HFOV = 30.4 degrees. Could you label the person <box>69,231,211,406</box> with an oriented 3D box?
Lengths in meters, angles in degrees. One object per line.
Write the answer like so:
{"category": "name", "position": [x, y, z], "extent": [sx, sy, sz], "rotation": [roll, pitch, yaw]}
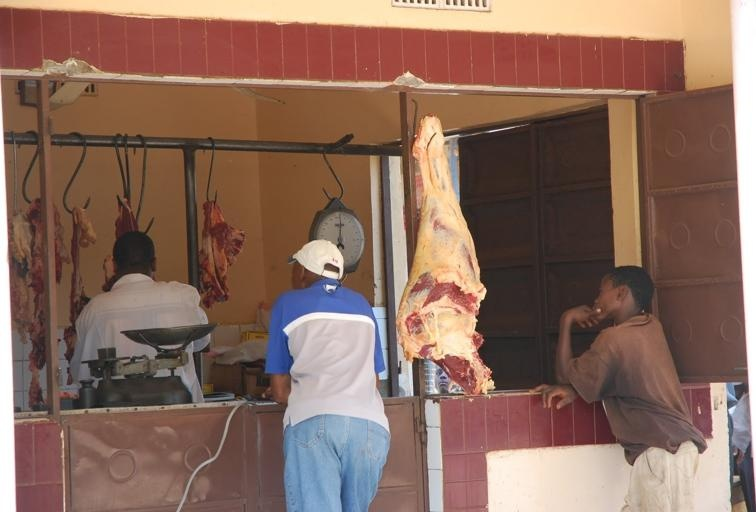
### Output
{"category": "person", "position": [-1.775, 0.424, 11.094], "extent": [0.912, 1.497, 0.815], "rotation": [0, 1, -18]}

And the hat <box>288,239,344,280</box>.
{"category": "hat", "position": [-0.400, 0.006, 9.945], "extent": [0.315, 0.202, 0.228], "rotation": [27, 11, 37]}

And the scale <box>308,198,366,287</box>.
{"category": "scale", "position": [-0.288, -0.168, 12.110], "extent": [0.463, 0.662, 0.077], "rotation": [-3, -3, -19]}

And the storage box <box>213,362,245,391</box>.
{"category": "storage box", "position": [-1.340, 1.165, 13.177], "extent": [0.217, 0.379, 0.425], "rotation": [3, -5, -26]}
